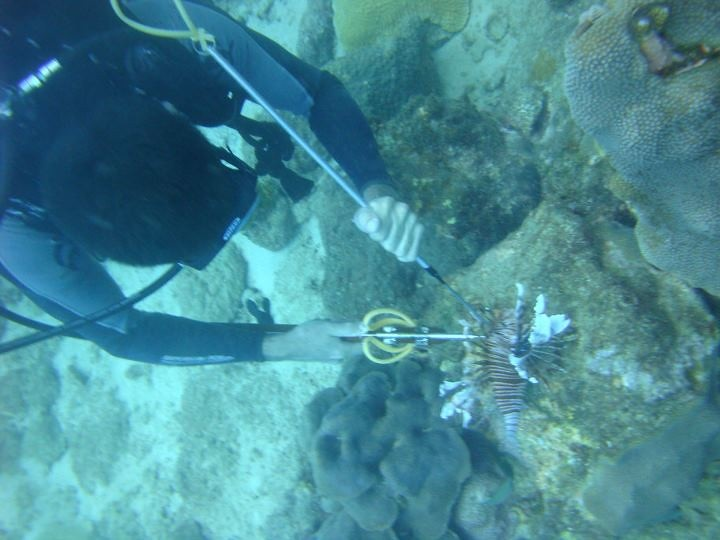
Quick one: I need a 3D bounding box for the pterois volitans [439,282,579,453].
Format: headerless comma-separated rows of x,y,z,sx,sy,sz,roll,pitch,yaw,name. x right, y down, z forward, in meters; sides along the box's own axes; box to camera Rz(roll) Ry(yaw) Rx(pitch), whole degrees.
0.802,0.461,3.887,0.603,0.257,0.874,5,93,34,pterois volitans
